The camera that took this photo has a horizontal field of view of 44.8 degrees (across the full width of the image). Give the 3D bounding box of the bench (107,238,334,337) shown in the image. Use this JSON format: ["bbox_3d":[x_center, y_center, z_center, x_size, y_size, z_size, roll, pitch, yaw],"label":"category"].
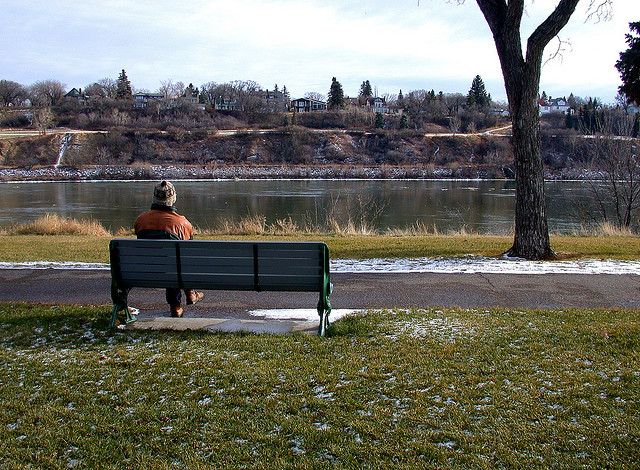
[{"bbox_3d":[-1.681,0.804,13.299,3.564,1.640,1.391,1,7,1],"label":"bench"}]

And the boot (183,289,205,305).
[{"bbox_3d":[-2.240,1.073,14.048,0.188,0.300,0.469,7,18,20],"label":"boot"}]
